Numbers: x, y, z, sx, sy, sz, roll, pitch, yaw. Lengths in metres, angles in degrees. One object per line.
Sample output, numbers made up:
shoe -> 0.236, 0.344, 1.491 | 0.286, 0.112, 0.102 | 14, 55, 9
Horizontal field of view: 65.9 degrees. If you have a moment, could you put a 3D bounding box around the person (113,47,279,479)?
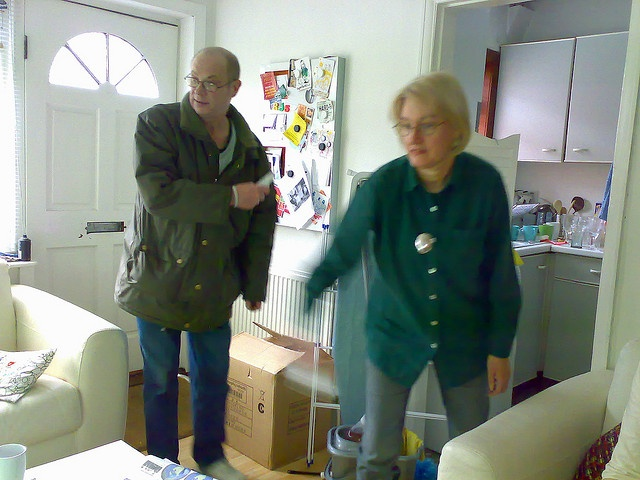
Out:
person -> -0.481, 0.141, 1.981 | 0.634, 1.754, 0.322 | -3, 8, -24

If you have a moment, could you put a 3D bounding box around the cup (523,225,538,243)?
cup -> 1.508, -0.044, 3.578 | 0.111, 0.115, 0.104 | 1, -2, 0

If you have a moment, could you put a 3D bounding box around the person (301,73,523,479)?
person -> 0.246, 0.161, 1.303 | 0.519, 1.133, 0.229 | 4, 8, 22

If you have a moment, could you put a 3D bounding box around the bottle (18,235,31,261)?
bottle -> -1.774, 0.050, 2.959 | 0.075, 0.153, 0.135 | -4, 8, -30

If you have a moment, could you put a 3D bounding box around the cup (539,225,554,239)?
cup -> 1.684, -0.060, 3.674 | 0.184, 0.114, 0.053 | -5, 9, -39

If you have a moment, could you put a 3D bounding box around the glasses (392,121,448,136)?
glasses -> 0.235, -0.264, 1.181 | 0.116, 0.030, 0.036 | 2, 7, 14
